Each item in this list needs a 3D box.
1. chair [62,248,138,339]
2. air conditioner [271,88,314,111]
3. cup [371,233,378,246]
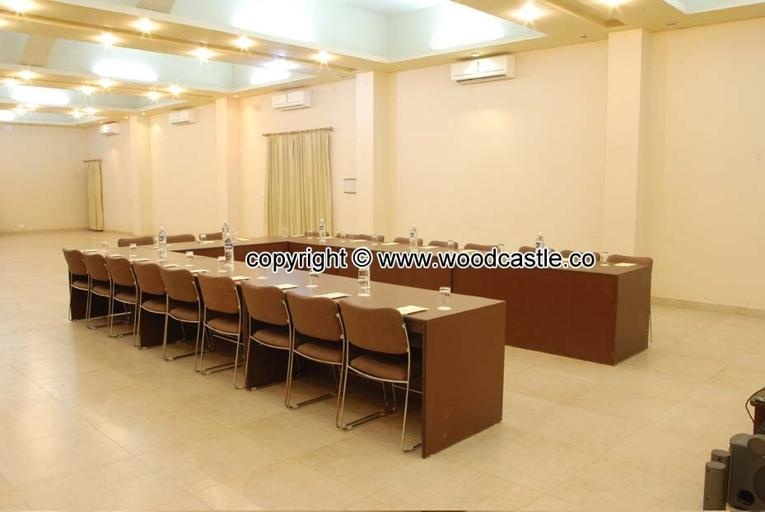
[{"bbox_3d":[-3.924,0.551,7.279,1.025,0.974,0.707,9,13,43],"label":"chair"},{"bbox_3d":[-2.189,-3.758,12.597,1.075,0.480,0.265,8,15,35],"label":"air conditioner"},{"bbox_3d":[-0.171,-0.252,8.952,0.178,0.240,0.179,-1,4,0],"label":"cup"}]
